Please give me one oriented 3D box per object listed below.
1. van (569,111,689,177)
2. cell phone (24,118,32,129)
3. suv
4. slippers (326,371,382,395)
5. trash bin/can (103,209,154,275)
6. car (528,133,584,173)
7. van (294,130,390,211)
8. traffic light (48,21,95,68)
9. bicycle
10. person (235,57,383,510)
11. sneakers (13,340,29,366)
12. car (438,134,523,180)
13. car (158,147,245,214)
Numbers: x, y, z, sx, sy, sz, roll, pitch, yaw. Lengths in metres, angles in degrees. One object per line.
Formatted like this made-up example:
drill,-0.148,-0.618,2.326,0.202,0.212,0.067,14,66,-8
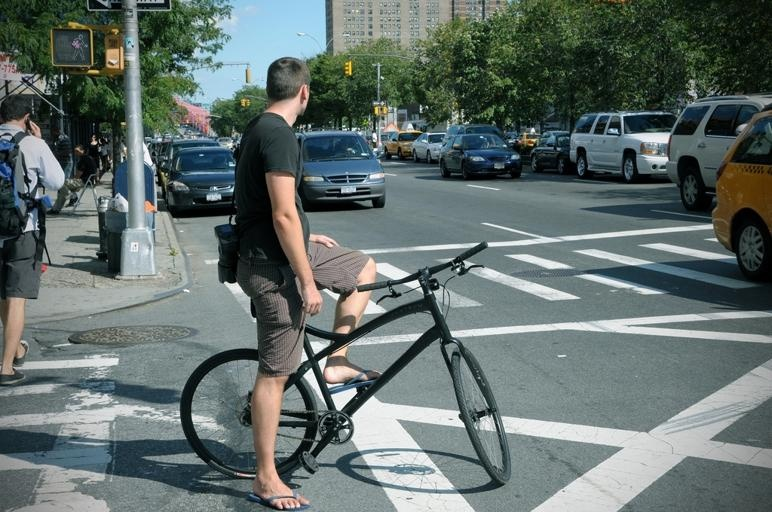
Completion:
van,8.317,-3.738,27.182,2.098,1.443,3.672,-2,3,-16
cell phone,-3.590,-1.336,8.083,0.084,0.111,0.031,-3,10,-41
suv,7.553,-2.504,18.141,1.727,1.517,2.807,-4,2,-37
slippers,-0.214,0.926,5.846,0.435,0.108,0.160,-14,19,5
trash bin/can,-4.081,-0.198,12.293,0.348,0.943,0.751,-5,13,-18
car,7.128,-4.297,33.582,1.220,0.967,2.058,-3,5,-24
van,-1.125,-2.395,21.051,1.845,1.517,3.327,-1,2,-13
traffic light,-5.200,-3.474,13.447,0.640,0.773,0.461,-3,-5,-12
bicycle,-0.175,0.856,5.800,2.667,1.537,1.305,-3,5,2
person,-0.628,0.185,5.682,0.958,3.108,0.718,-12,17,-42
sneakers,-3.686,0.990,8.218,0.099,0.106,0.278,0,22,-4
car,3.624,-3.845,31.241,2.058,1.745,3.177,-6,14,-24
car,-4.962,-2.035,22.180,2.245,1.767,4.679,-2,1,-15
